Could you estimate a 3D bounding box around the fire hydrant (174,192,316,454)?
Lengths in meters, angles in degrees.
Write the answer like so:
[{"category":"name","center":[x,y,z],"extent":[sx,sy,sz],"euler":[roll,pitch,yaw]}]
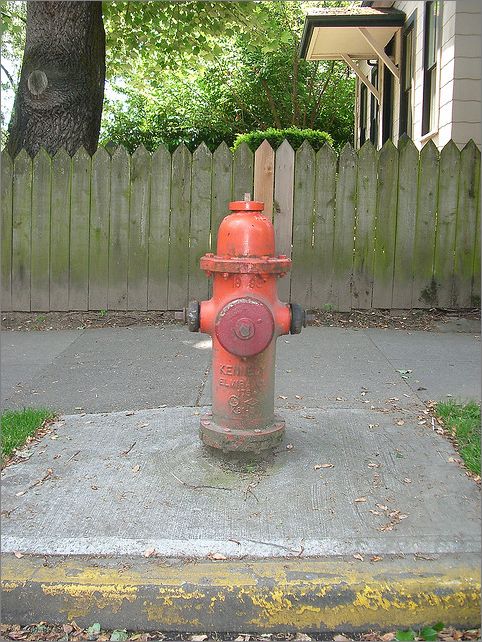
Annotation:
[{"category":"fire hydrant","center":[0.005,0.033,2.996],"extent":[0.495,1.253,0.464],"euler":[9,14,42]}]
